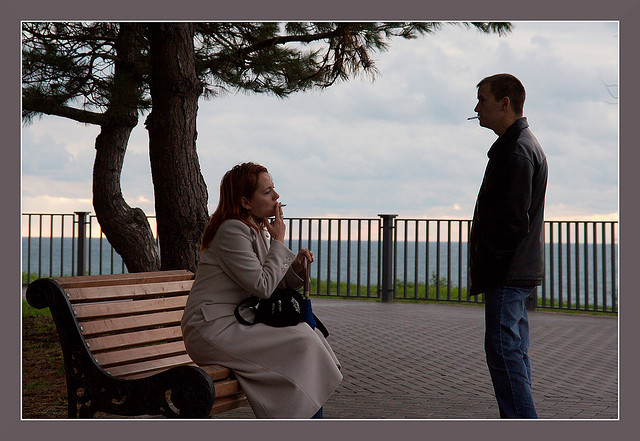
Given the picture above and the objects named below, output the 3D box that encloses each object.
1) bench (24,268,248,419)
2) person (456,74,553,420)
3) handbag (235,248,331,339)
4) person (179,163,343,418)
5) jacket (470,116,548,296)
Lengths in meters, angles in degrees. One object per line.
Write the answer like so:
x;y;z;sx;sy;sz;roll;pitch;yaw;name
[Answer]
-1.365;1.028;6.254;1.187;0.838;1.881;0;-3;31;bench
1.579;0.190;6.532;0.636;2.884;0.454;0;2;15;person
-0.257;0.594;6.544;0.563;0.689;0.701;5;-8;40;handbag
-0.517;0.534;6.354;1.229;2.027;0.518;1;2;20;person
1.601;-0.126;6.563;0.638;1.529;0.329;0;2;11;jacket
